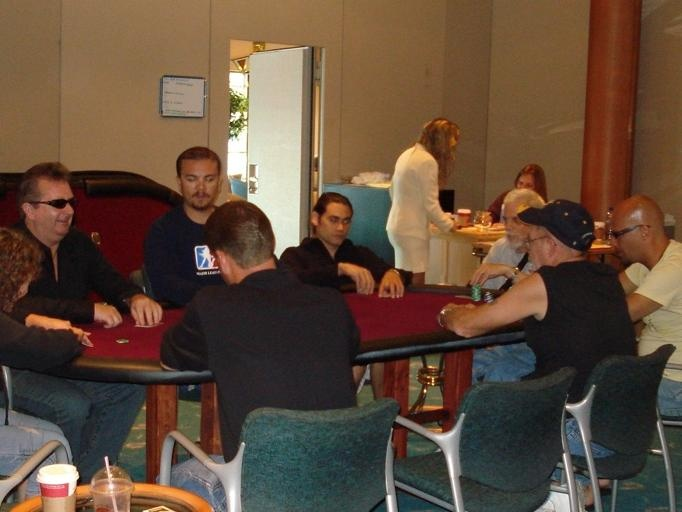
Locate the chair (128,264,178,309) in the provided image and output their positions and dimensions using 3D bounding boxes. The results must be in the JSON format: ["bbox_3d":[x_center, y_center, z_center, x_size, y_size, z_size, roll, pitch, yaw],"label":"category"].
[{"bbox_3d":[-1.062,0.131,3.566,0.225,0.113,0.300,-4,17,-23],"label":"chair"}]

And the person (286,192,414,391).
[{"bbox_3d":[0.026,0.302,3.892,0.749,1.317,0.690,2,8,44],"label":"person"}]

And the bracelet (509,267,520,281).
[{"bbox_3d":[1.018,0.104,3.789,0.054,0.078,0.084,0,16,6],"label":"bracelet"}]

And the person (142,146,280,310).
[{"bbox_3d":[-0.794,-0.175,3.698,0.570,0.854,0.564,5,12,2],"label":"person"}]

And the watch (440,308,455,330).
[{"bbox_3d":[0.505,0.299,3.068,0.030,0.087,0.064,15,20,15],"label":"watch"}]

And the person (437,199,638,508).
[{"bbox_3d":[0.970,0.381,3.132,0.908,1.402,0.815,9,22,32],"label":"person"}]
